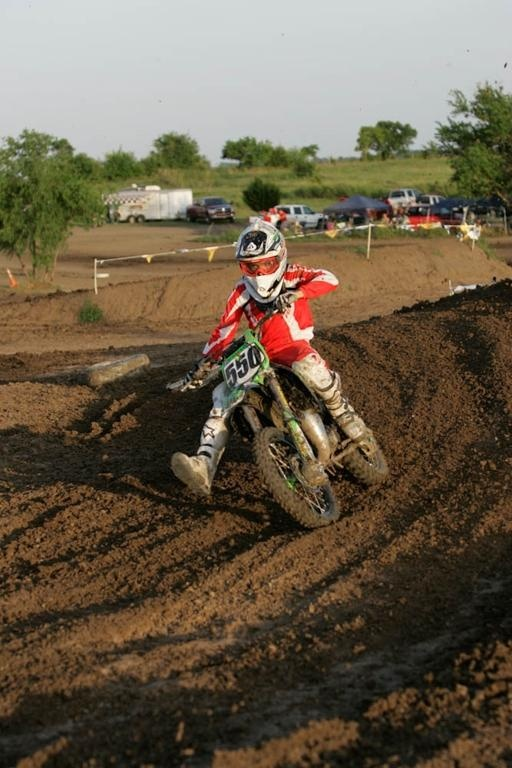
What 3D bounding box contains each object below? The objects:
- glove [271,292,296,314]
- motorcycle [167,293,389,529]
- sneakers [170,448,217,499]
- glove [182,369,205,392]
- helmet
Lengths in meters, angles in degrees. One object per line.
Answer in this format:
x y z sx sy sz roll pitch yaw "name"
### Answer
0.159 -0.459 3.610 0.105 0.065 0.141 -37 10 4 "glove"
0.148 0.185 3.923 1.364 1.514 0.641 -12 15 -33 "motorcycle"
-0.393 0.552 3.822 0.144 0.427 0.192 -27 38 11 "sneakers"
-0.390 -0.007 3.989 0.057 0.140 0.186 22 -7 1 "glove"
0.041 -0.740 3.869 0.303 0.517 0.454 -3 13 1 "helmet"
